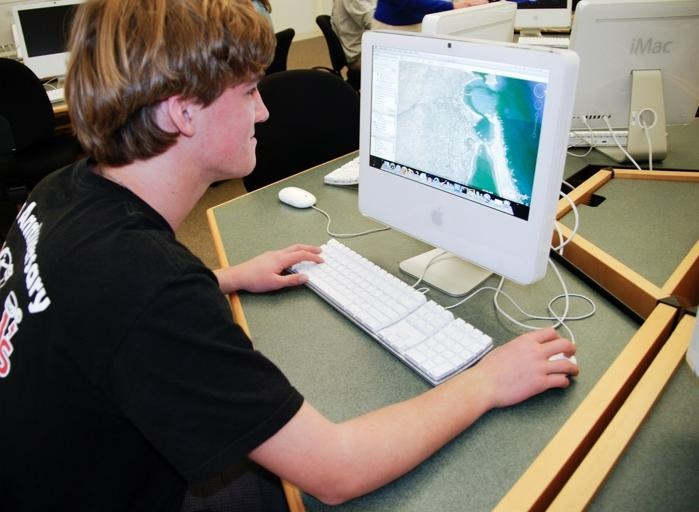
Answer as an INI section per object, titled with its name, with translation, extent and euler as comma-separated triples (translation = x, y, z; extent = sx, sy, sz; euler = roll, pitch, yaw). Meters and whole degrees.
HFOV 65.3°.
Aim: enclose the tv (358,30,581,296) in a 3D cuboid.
[tv]
translation = 0.254, -0.192, 1.205
extent = 0.160, 0.452, 0.480
euler = -27, 42, -35
